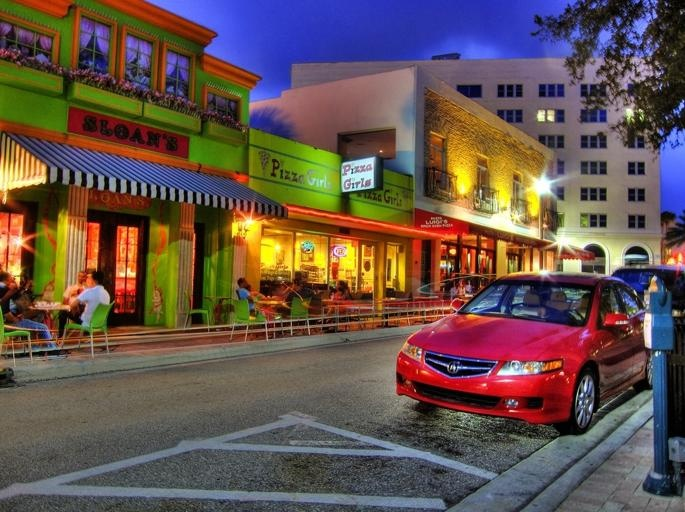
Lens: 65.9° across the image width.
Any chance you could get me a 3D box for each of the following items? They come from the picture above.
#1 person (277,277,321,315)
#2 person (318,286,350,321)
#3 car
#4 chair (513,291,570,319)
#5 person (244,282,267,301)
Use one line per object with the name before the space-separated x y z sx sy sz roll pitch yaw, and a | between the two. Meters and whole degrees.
person | -1.458 1.263 16.697 0.834 1.382 0.489 0 7 2
person | -0.255 1.545 16.582 0.619 0.618 1.209 1 1 19
car | 2.528 1.230 7.301 3.517 1.918 1.844 1 1 -40
chair | 2.874 0.729 7.549 0.446 0.474 0.445 -4 6 -41
person | -2.776 1.143 16.450 0.557 0.289 0.768 3 6 -27
